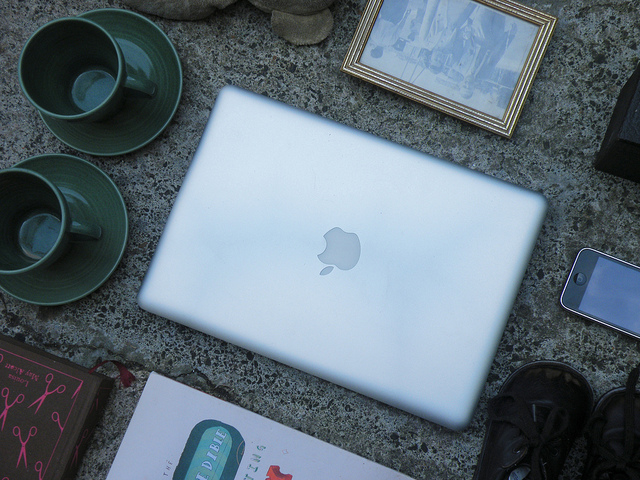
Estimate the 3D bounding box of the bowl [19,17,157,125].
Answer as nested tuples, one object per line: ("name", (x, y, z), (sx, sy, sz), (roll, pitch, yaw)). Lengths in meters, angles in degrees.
("bowl", (-0.506, -0.362, 1.333), (0.255, 0.130, 0.205), (-27, 84, -1))
